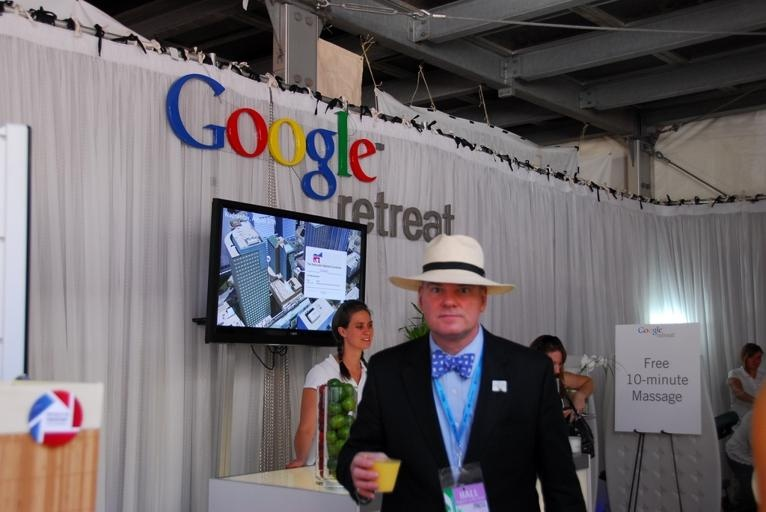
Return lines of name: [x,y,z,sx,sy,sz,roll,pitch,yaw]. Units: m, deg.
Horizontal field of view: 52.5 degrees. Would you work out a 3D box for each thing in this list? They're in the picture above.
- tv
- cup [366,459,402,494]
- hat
tv: [-0.790,0.152,5.914,0.930,0.778,0.094,9,-5,-40]
cup: [0.011,1.016,3.583,0.117,0.128,0.138,0,-12,0]
hat: [0.374,0.087,4.003,0.366,0.200,0.408,0,-14,13]
